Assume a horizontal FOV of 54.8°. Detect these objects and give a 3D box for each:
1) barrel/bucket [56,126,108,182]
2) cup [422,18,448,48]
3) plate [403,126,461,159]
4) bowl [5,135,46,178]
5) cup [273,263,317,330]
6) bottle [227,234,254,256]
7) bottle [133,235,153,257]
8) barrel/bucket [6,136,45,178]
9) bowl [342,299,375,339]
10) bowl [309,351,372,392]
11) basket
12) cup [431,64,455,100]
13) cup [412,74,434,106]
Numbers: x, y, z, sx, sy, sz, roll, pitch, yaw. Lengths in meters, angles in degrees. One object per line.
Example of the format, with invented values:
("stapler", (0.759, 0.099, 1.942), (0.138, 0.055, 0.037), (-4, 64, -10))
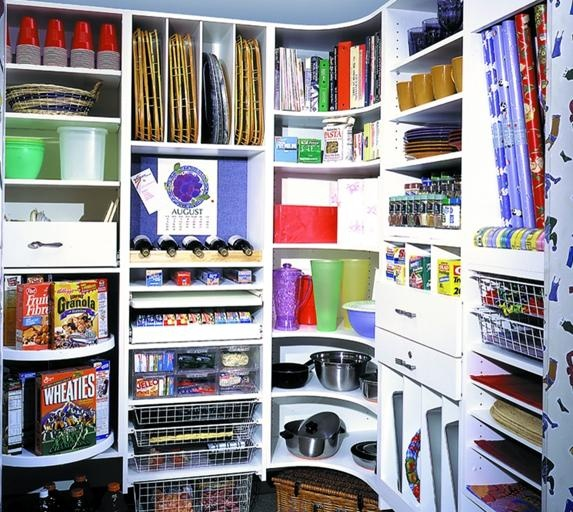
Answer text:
("barrel/bucket", (-0.897, -0.441, 2.518), (0.203, 0.239, 0.245), (1, -90, -6))
("cup", (0.541, -0.829, 2.061), (0.082, 0.092, 0.099), (-7, -80, -2))
("plate", (0.540, -0.425, 2.053), (0.137, 0.147, 0.067), (-3, -85, -8))
("bowl", (-1.115, -0.419, 2.356), (0.154, 0.165, 0.158), (0, -83, -4))
("cup", (0.012, 0.211, 2.733), (0.286, 0.209, 0.346), (-1, -89, -17))
("bottle", (-0.228, -0.045, 2.723), (0.042, 0.164, 0.050), (-16, -67, -9))
("bottle", (-0.662, -0.025, 2.552), (0.083, 0.142, 0.097), (5, -68, -10))
("barrel/bucket", (-1.104, -0.419, 2.392), (0.152, 0.163, 0.155), (-1, -83, -6))
("bowl", (0.341, 0.302, 2.624), (0.142, 0.146, 0.098), (1, -86, 32))
("bowl", (0.263, 0.601, 2.815), (0.319, 0.316, 0.174), (2, -91, -42))
("basket", (-1.001, -0.661, 2.391), (0.223, 0.202, 0.094), (-1, -80, -11))
("cup", (0.549, -0.615, 1.972), (0.085, 0.110, 0.116), (-3, -85, -25))
("cup", (0.504, -0.619, 2.074), (0.080, 0.104, 0.110), (-6, -83, -41))
